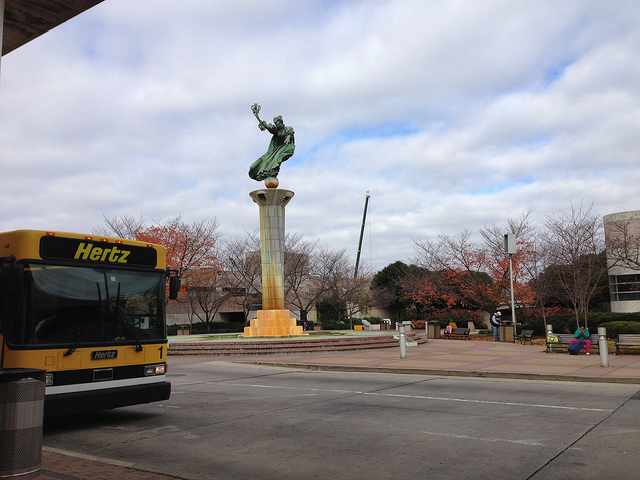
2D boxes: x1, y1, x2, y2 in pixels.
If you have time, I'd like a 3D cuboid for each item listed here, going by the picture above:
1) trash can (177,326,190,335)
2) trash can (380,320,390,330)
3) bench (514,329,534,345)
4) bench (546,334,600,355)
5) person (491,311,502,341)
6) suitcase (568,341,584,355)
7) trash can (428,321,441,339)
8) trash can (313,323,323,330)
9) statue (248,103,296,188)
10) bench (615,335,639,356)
[{"bbox_3d":[-13.780,8.886,46.133,1.446,1.331,1.038,3,-13,-21],"label":"trash can"},{"bbox_3d":[7.190,9.456,49.992,1.375,0.852,0.968,3,-5,-43],"label":"trash can"},{"bbox_3d":[12.090,5.701,26.867,0.931,0.745,2.073,-4,-9,22],"label":"bench"},{"bbox_3d":[12.241,4.849,21.802,2.038,0.843,5.147,-6,-10,30],"label":"bench"},{"bbox_3d":[11.429,5.522,29.127,0.485,1.804,0.858,-3,-8,20],"label":"person"},{"bbox_3d":[11.036,4.601,19.458,0.511,0.767,0.420,7,-48,33],"label":"suitcase"},{"bbox_3d":[8.251,6.548,32.720,0.807,1.013,0.790,-2,-8,8],"label":"trash can"},{"bbox_3d":[-0.185,9.220,48.477,1.367,0.964,0.818,-2,-12,5],"label":"trash can"},{"bbox_3d":[-3.223,-6.081,32.109,2.802,5.069,1.095,0,-8,-6],"label":"statue"},{"bbox_3d":[12.806,4.419,18.960,1.391,0.880,0.568,-5,-15,28],"label":"bench"}]
